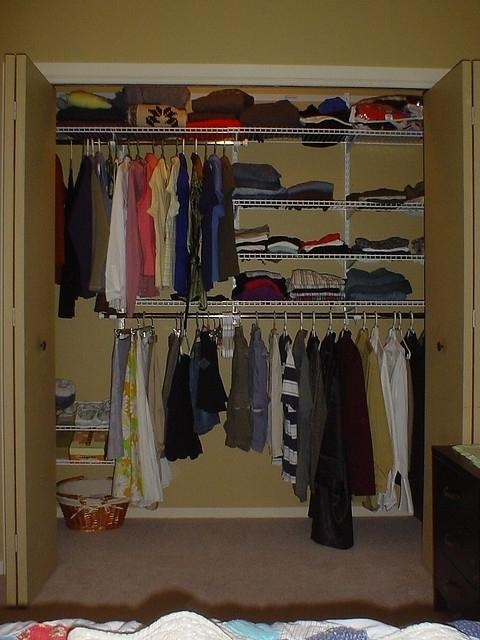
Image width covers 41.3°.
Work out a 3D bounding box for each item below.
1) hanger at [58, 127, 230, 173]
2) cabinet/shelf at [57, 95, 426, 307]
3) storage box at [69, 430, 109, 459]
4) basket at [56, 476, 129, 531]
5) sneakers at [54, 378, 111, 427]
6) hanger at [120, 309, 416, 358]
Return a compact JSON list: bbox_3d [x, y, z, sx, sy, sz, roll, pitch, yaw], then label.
[{"bbox_3d":[-0.483,-0.832,3.136,0.931,0.153,0.529,0,7,-4],"label":"hanger"},{"bbox_3d":[0.159,-0.563,3.158,1.688,1.039,0.594,0,5,-8],"label":"cabinet/shelf"},{"bbox_3d":[-0.747,0.608,3.144,0.187,0.116,0.212,0,6,-6],"label":"storage box"},{"bbox_3d":[-0.743,0.914,3.148,0.222,0.176,0.251,0,2,-22],"label":"basket"},{"bbox_3d":[-0.782,0.422,3.151,0.217,0.109,0.198,1,8,-11],"label":"sneakers"},{"bbox_3d":[0.247,0.005,3.209,1.440,0.145,0.467,1,7,2],"label":"hanger"}]
